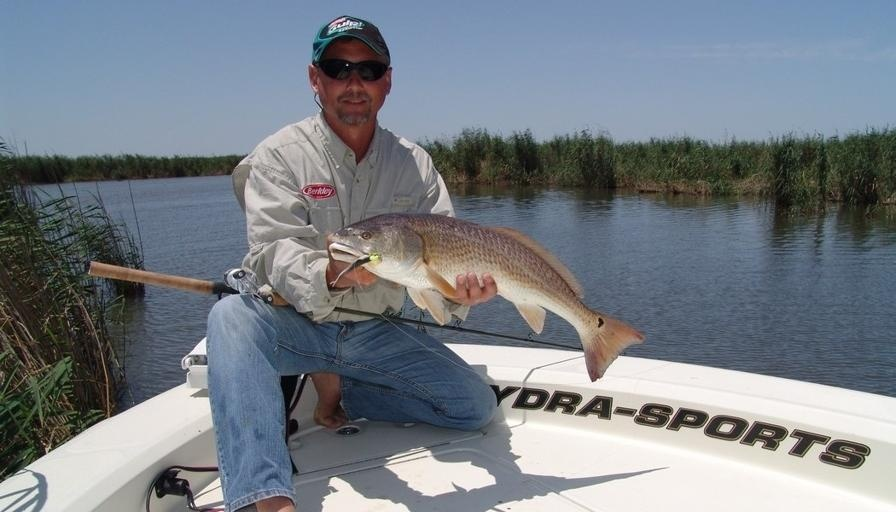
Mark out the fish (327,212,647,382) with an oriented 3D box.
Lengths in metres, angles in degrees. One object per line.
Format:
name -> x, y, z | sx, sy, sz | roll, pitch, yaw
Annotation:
fish -> 0.249, 0.319, 4.866 | 2.202, 1.333, 0.289 | -4, 11, -3

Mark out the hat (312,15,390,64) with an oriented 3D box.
hat -> -0.810, -1.760, 5.208 | 0.609, 0.365, 0.186 | -4, 11, -7
